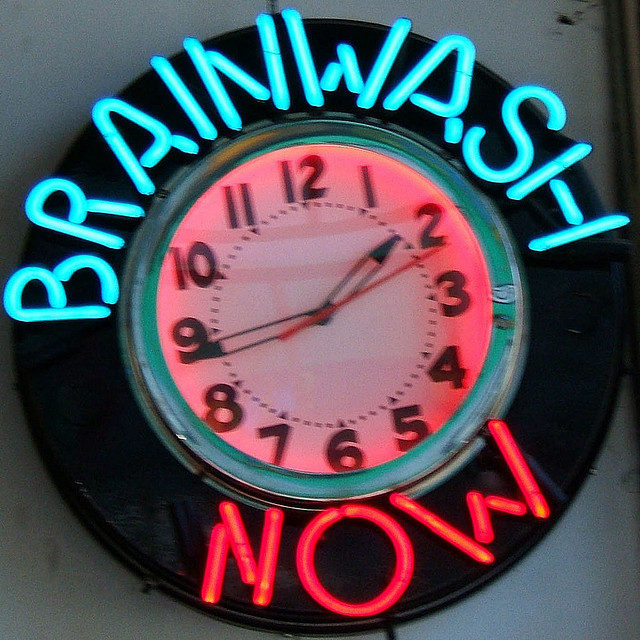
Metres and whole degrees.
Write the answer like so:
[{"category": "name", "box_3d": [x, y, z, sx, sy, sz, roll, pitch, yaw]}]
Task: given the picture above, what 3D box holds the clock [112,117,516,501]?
[{"category": "clock", "box_3d": [0.012, -0.022, 2.208, 0.762, 0.089, 0.757, -17, 85, -2]}]
